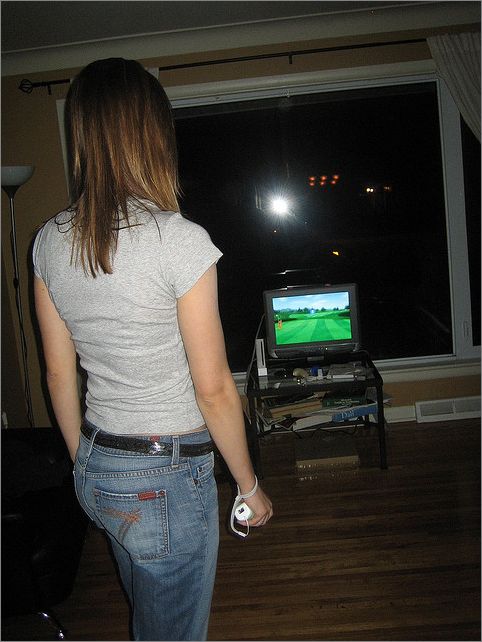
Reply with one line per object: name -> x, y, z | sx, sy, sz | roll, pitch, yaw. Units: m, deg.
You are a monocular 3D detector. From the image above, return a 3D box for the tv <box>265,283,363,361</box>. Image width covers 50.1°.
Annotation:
tv -> 0.451, -0.043, 3.319 | 0.732, 0.646, 0.391 | -3, 8, 2

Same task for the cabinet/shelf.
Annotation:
cabinet/shelf -> 0.408, 0.405, 3.092 | 0.857, 0.624, 0.666 | -4, 11, 1
